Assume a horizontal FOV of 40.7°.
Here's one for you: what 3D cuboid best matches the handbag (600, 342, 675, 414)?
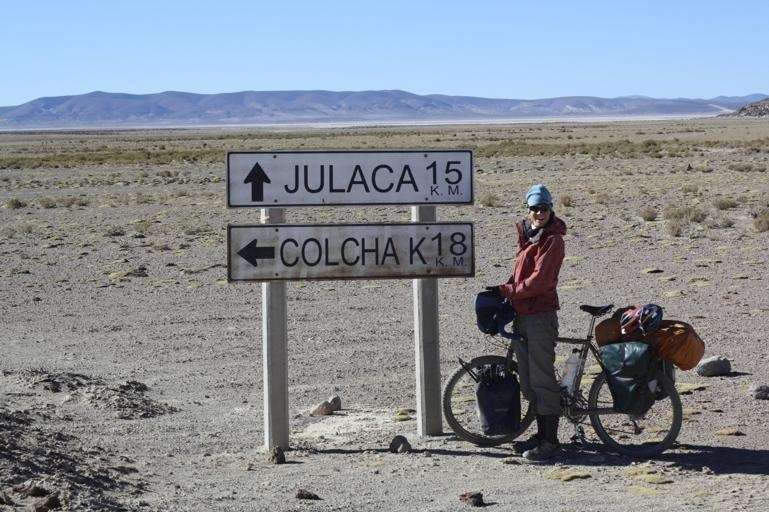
[{"bbox_3d":[2.817,1.401,11.869,0.892,0.922,0.787,-3,3,5],"label":"handbag"}]

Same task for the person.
[{"bbox_3d":[1.759,0.773,12.049,0.717,3.097,0.452,-3,0,28],"label":"person"}]

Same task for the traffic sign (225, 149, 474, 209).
[{"bbox_3d":[-0.345,-0.923,12.618,3.162,0.728,0.031,-1,3,-22],"label":"traffic sign"}]

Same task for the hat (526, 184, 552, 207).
[{"bbox_3d":[1.784,-0.686,12.057,0.235,0.195,0.329,1,-4,6],"label":"hat"}]

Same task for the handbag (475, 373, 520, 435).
[{"bbox_3d":[1.336,1.785,12.436,0.586,0.743,0.396,-5,11,-15],"label":"handbag"}]
